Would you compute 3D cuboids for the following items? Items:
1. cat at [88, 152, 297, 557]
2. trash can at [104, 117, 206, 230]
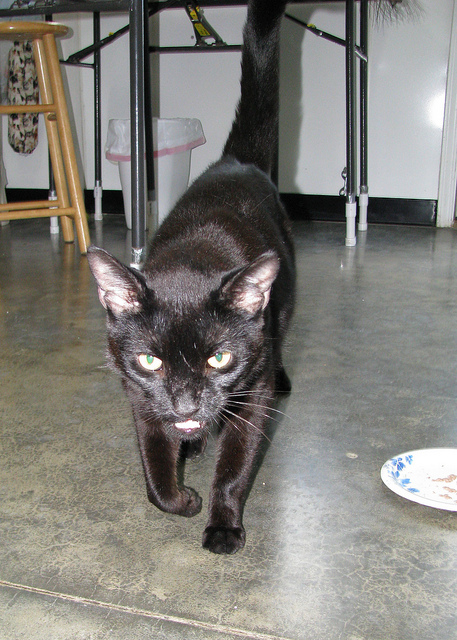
[{"bbox_3d":[0.085,-0.023,0.847,0.199,0.479,0.725,-4,29,15],"label":"cat"},{"bbox_3d":[-0.406,-0.849,3.065,0.472,0.488,0.475,0,-14,-23],"label":"trash can"}]
